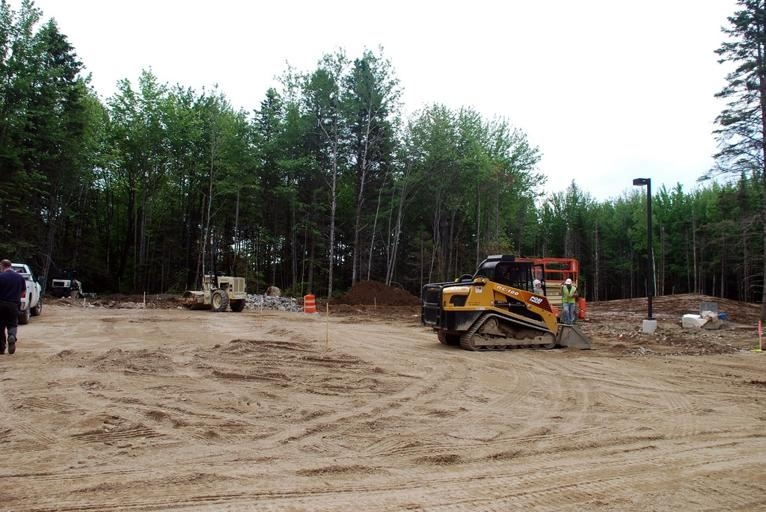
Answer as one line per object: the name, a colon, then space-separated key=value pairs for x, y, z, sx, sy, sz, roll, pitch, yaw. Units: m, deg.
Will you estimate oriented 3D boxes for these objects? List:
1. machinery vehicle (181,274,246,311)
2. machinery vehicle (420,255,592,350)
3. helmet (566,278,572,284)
machinery vehicle: x=-9.504 y=2.123 z=34.618 sx=3.207 sy=1.635 sz=2.094 roll=3 pitch=0 yaw=42
machinery vehicle: x=4.594 y=1.709 z=22.389 sx=5.861 sy=3.209 sz=3.216 roll=2 pitch=-3 yaw=-20
helmet: x=7.436 y=1.024 z=24.347 sx=0.289 sy=0.136 sz=0.401 roll=2 pitch=2 yaw=14
